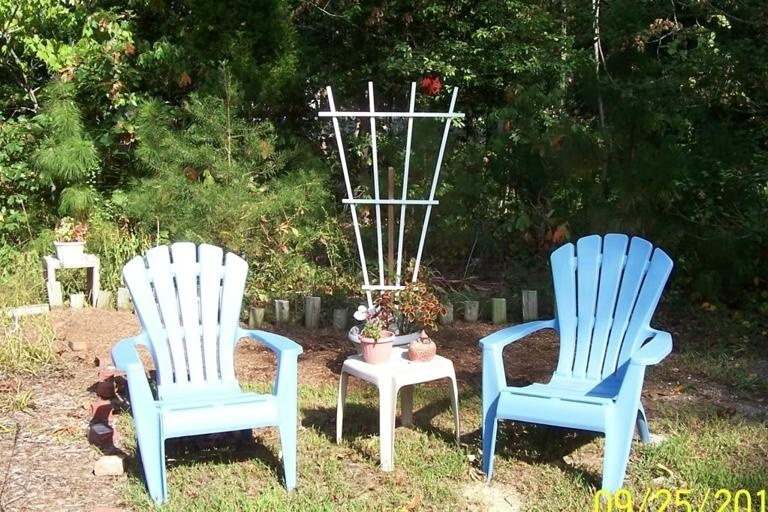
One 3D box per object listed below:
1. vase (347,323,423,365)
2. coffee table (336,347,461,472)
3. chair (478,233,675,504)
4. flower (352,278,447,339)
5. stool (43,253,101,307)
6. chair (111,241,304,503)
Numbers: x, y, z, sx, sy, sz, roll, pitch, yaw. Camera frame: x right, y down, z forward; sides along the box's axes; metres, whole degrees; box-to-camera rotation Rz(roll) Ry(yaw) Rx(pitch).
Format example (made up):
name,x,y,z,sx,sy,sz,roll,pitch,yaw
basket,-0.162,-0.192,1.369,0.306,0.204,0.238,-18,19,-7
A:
name,x,y,z,sx,sy,sz,roll,pitch,yaw
vase,0.025,0.654,5.173,0.380,0.163,0.299,4,1,-20
coffee table,0.045,0.991,5.185,0.811,0.710,0.792,-5,6,-40
chair,1.379,0.700,4.957,1.229,1.558,1.564,2,7,30
flower,0.107,0.406,5.319,0.443,0.297,0.515,-1,12,-3
stool,-3.290,0.282,7.570,0.559,0.627,0.570,0,0,-15
chair,-1.297,0.836,5.089,1.348,1.458,1.645,-5,27,-18
